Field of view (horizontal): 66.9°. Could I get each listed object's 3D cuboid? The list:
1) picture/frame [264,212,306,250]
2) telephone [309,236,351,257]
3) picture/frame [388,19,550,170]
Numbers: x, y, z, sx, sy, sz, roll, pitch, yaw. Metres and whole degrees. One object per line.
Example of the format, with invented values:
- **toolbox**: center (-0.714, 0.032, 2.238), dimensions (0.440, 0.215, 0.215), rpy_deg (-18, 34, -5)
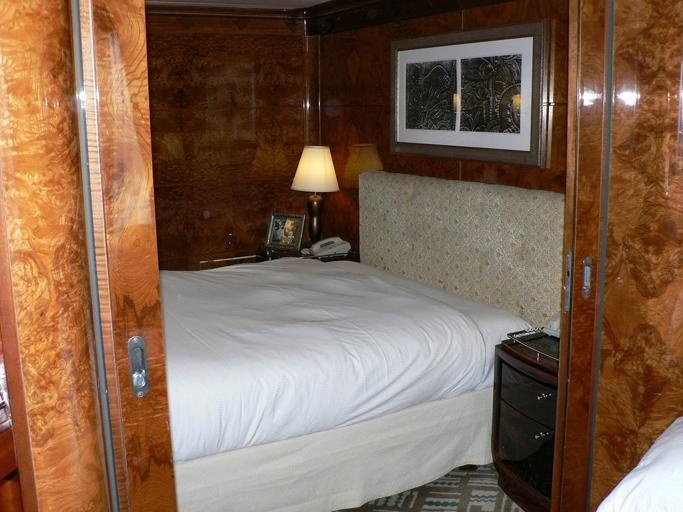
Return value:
- **picture/frame**: center (-0.619, -0.269, 5.515), dimensions (0.375, 0.378, 0.038), rpy_deg (7, -10, 29)
- **telephone**: center (-0.105, -0.114, 5.125), dimensions (0.268, 0.102, 0.208), rpy_deg (-3, 8, -21)
- **picture/frame**: center (0.966, -1.196, 3.793), dimensions (0.061, 0.796, 1.315), rpy_deg (-5, 10, -33)
